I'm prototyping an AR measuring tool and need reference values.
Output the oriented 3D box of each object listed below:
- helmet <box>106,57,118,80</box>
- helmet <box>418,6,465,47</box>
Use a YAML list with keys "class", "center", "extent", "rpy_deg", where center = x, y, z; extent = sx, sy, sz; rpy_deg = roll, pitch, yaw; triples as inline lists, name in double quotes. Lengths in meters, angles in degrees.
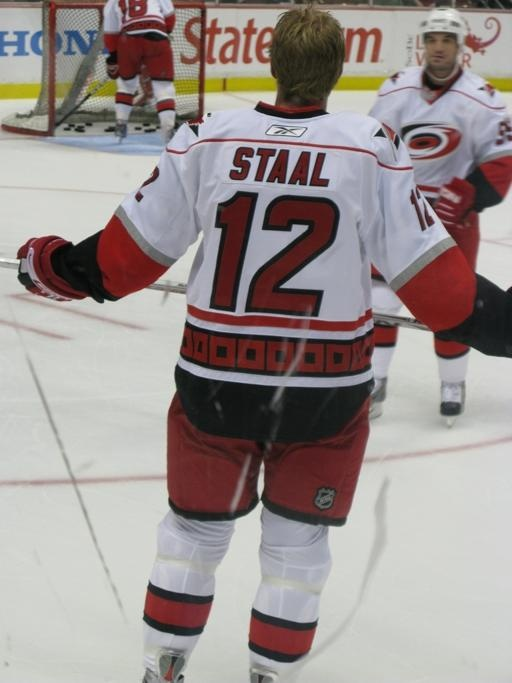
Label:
- class: "helmet"
  center: [-1.422, -2.661, 6.637]
  extent: [0.104, 0.085, 0.259]
  rpy_deg: [0, 2, -5]
- class: "helmet"
  center: [0.743, -1.283, 2.731]
  extent: [0.170, 0.167, 0.196]
  rpy_deg: [2, 10, 15]
